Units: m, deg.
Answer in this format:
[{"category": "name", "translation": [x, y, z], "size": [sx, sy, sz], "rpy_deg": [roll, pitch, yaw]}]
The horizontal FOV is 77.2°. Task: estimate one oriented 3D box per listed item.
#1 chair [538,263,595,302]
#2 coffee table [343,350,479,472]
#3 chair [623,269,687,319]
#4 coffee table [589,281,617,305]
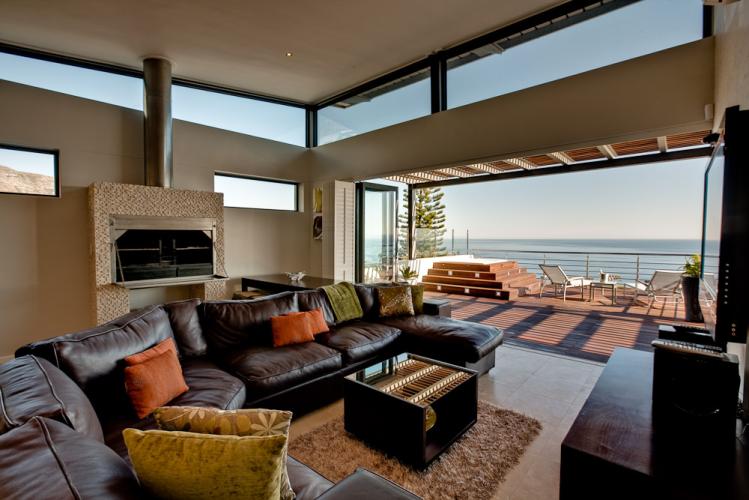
[{"category": "chair", "translation": [3.901, 0.595, 9.550], "size": [1.241, 0.590, 0.600], "rpy_deg": [-5, 8, -41]}, {"category": "coffee table", "translation": [0.297, 1.354, 4.313], "size": [0.884, 0.526, 0.913], "rpy_deg": [4, 9, 37]}, {"category": "chair", "translation": [5.225, 0.669, 8.559], "size": [0.615, 0.737, 1.193], "rpy_deg": [-1, 8, 2]}, {"category": "coffee table", "translation": [4.366, 0.725, 9.001], "size": [0.619, 0.447, 0.453], "rpy_deg": [3, 8, 32]}]
